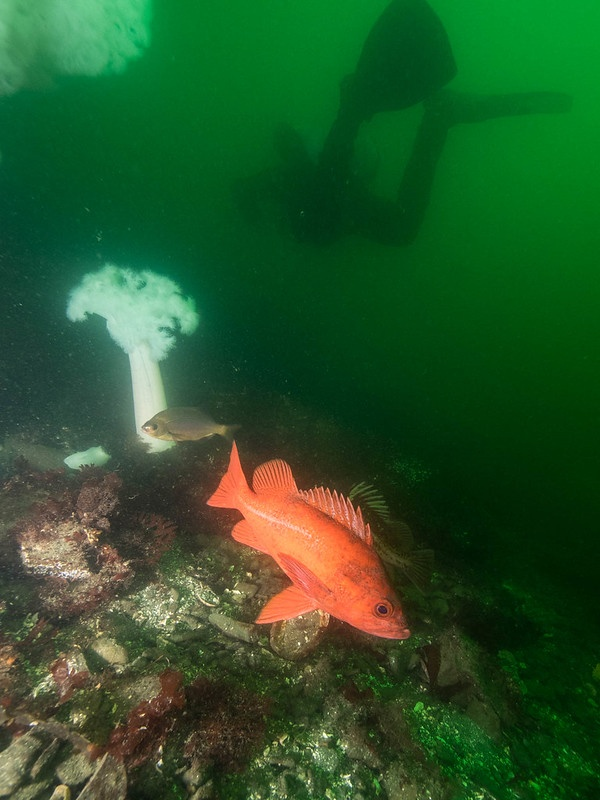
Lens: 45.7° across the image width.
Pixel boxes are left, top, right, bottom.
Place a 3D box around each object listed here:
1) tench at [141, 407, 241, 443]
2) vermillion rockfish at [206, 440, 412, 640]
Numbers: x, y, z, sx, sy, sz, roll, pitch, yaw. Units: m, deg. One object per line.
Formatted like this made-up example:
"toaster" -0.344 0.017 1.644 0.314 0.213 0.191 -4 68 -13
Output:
"tench" -1.100 0.246 7.035 0.932 0.317 0.141 7 17 -19
"vermillion rockfish" -0.004 1.234 6.003 2.064 1.215 0.716 38 13 15
